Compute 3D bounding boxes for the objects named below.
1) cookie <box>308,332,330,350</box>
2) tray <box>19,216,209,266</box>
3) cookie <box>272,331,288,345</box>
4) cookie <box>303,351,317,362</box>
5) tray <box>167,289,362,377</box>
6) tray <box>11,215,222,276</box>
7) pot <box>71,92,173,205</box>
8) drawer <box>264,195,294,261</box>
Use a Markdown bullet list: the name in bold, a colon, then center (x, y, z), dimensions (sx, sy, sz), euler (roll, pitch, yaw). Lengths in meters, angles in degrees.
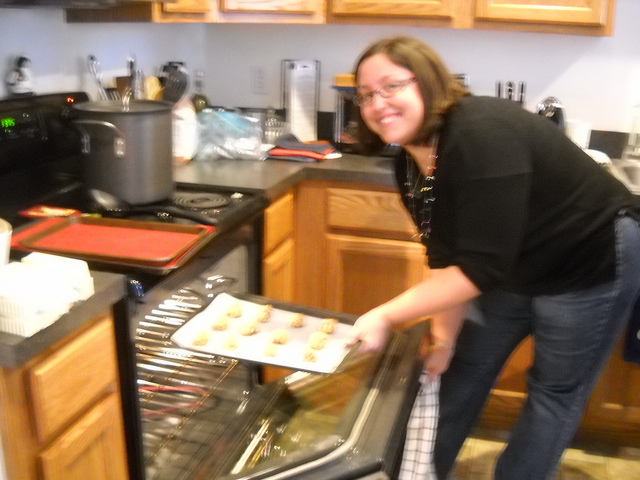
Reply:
- **cookie**: center (-0.004, 0.235, 1.094), dimensions (0.044, 0.009, 0.064), euler (5, 18, 18)
- **tray**: center (-0.493, -0.003, 1.110), dimensions (0.380, 0.038, 0.235), euler (7, 22, 9)
- **cookie**: center (-0.093, 0.234, 1.123), dimensions (0.037, 0.011, 0.048), euler (1, 17, 6)
- **cookie**: center (-0.022, 0.260, 1.042), dimensions (0.029, 0.007, 0.033), euler (-3, 17, -8)
- **tray**: center (-0.108, 0.217, 1.138), dimensions (0.440, 0.059, 0.256), euler (4, 18, 16)
- **tray**: center (-0.531, 0.009, 1.152), dimensions (0.407, 0.042, 0.273), euler (7, 16, 3)
- **pot**: center (-0.574, -0.268, 1.408), dimensions (0.268, 0.298, 0.213), euler (-8, 18, -23)
- **drawer**: center (-0.166, -0.055, 1.864), dimensions (0.133, 0.163, 0.245), euler (3, 20, 15)
